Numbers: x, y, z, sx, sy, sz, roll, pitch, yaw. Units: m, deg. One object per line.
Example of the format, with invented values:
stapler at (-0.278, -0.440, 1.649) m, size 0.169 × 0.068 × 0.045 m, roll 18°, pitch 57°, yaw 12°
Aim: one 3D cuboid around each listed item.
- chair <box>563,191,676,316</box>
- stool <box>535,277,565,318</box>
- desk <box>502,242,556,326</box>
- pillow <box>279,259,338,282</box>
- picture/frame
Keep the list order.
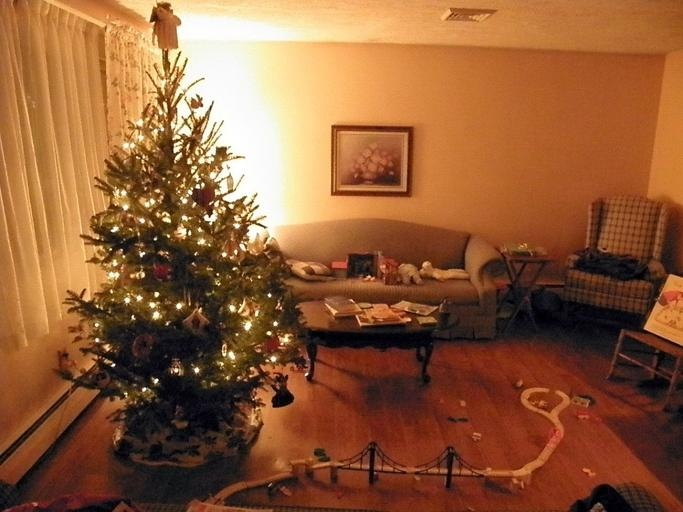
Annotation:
chair at (3.012, -0.040, 5.791) m, size 0.887 × 1.172 × 1.022 m, roll 10°, pitch 20°, yaw 32°
stool at (2.335, 0.457, 5.920) m, size 0.409 × 0.395 × 0.389 m, roll -12°, pitch -9°, yaw 42°
desk at (2.061, 0.339, 5.883) m, size 0.648 × 0.910 × 0.627 m, roll 4°, pitch 19°, yaw 8°
pillow at (-0.358, 0.122, 5.702) m, size 0.410 × 0.128 × 0.626 m, roll -10°, pitch 22°, yaw -30°
picture/frame at (0.325, -1.135, 6.102) m, size 0.763 × 0.607 × 0.056 m, roll 1°, pitch 10°, yaw -3°
